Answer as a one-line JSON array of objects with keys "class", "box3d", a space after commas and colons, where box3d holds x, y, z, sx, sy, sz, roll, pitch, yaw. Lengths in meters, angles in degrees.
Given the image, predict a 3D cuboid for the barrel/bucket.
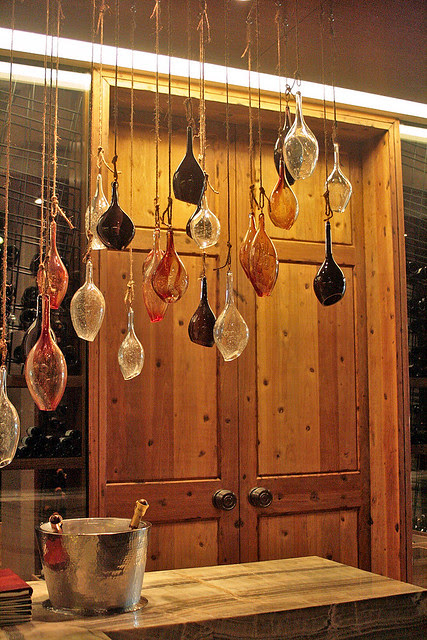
[{"class": "barrel/bucket", "box3d": [-0.236, 0.497, 1.352, 0.197, 0.153, 0.205, -1, -10, 0]}]
